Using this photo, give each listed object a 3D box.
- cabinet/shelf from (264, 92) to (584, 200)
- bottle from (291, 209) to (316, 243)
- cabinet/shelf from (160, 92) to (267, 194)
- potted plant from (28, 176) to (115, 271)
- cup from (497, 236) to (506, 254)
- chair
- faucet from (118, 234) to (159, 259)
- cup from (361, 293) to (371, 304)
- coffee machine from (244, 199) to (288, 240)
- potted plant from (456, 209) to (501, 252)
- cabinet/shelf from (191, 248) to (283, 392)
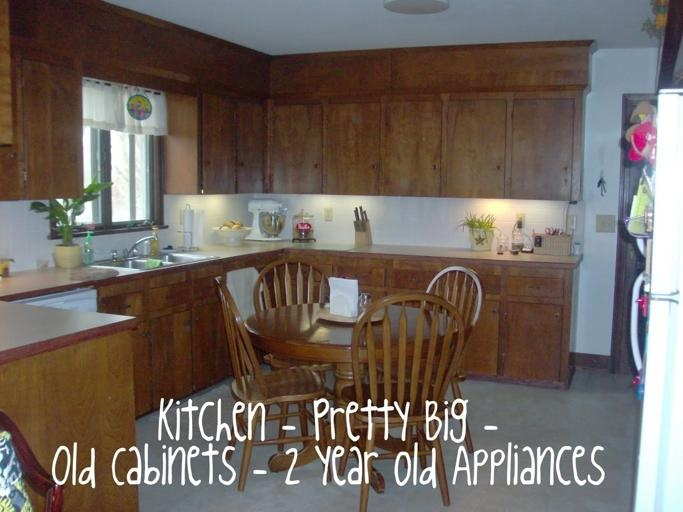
[{"bbox_3d":[0.732,-1.046,5.099,2.886,0.953,0.255,3,10,13],"label":"cabinet/shelf"},{"bbox_3d":[-0.426,-0.321,5.775,0.324,0.326,0.338,1,4,-9],"label":"bottle"},{"bbox_3d":[-1.231,-1.047,4.933,0.317,0.855,0.928,8,11,36],"label":"cabinet/shelf"},{"bbox_3d":[-2.012,-0.223,4.098,0.517,0.650,0.568,1,1,3],"label":"potted plant"},{"bbox_3d":[1.537,-0.098,5.117,0.108,0.183,0.156,2,2,10],"label":"cup"},{"bbox_3d":[0.114,0.666,2.977,1.294,0.893,1.298,0,3,23],"label":"chair"},{"bbox_3d":[-1.733,-0.080,4.501,0.224,0.163,0.305,6,12,26],"label":"faucet"},{"bbox_3d":[0.145,0.260,3.284,0.054,0.056,0.054,2,8,0],"label":"cup"},{"bbox_3d":[-0.815,-0.402,5.831,0.399,0.438,0.258,4,11,16],"label":"coffee machine"},{"bbox_3d":[1.317,-0.234,5.137,0.325,0.342,0.334,3,5,35],"label":"potted plant"},{"bbox_3d":[-0.962,0.647,5.224,0.833,1.085,1.506,6,3,-17],"label":"cabinet/shelf"}]
